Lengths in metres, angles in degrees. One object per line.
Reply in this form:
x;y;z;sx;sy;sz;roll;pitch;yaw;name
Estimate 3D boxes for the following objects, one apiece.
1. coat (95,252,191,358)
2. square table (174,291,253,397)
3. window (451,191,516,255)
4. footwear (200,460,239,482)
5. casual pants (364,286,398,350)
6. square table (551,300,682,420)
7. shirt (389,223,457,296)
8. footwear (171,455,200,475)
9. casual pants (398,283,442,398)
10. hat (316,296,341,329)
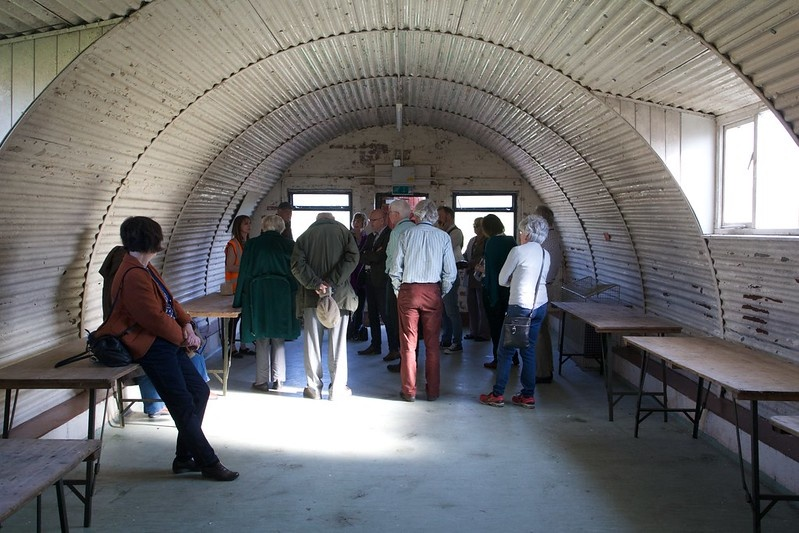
-2.259;0.337;4.697;0.819;0.807;0.698;11;10;-27;coat
-2.581;1.063;7.726;0.802;0.973;2.726;6;-1;-9;square table
1.893;-0.982;11.305;1.476;1.298;1.000;2;5;16;window
-1.621;1.875;4.834;0.394;0.158;0.141;3;0;-2;footwear
-0.315;0.626;8.773;0.299;1.480;0.419;4;6;25;casual pants
2.827;1.128;6.953;0.937;0.989;2.193;2;3;6;square table
0.275;-0.091;6.453;1.158;1.069;0.581;0;1;-3;shirt
-1.930;1.841;4.916;0.386;0.156;0.133;0;-2;-9;footwear
0.293;0.905;6.551;0.571;1.402;0.387;-1;-3;4;casual pants
-0.869;0.538;6.558;0.291;0.385;0.176;-7;9;13;hat
